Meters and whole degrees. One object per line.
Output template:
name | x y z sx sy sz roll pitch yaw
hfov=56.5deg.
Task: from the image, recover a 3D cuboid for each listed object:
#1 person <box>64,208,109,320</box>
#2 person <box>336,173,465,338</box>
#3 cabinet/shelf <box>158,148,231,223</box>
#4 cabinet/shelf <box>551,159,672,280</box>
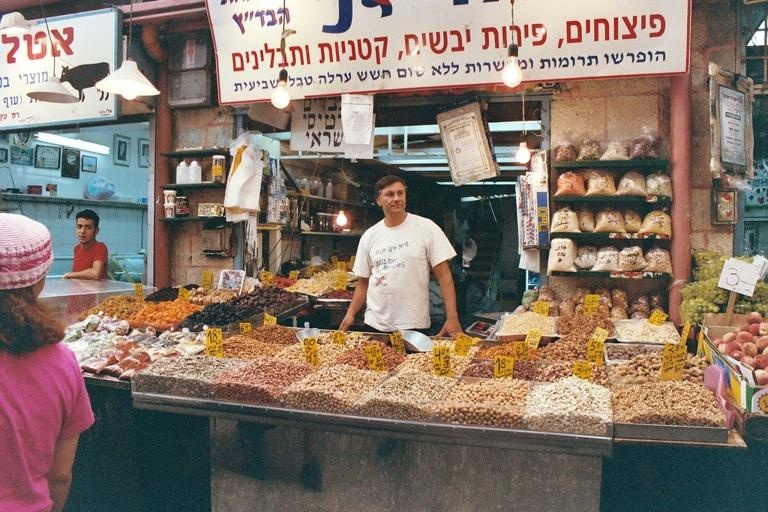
person | -3.171 0.048 7.506 0.564 1.006 0.532 -2 -5 38
person | 0.169 0.111 6.550 0.734 1.903 0.711 0 1 5
cabinet/shelf | -1.971 -0.729 7.462 0.756 0.732 0.270 -1 -2 19
cabinet/shelf | 2.051 -0.322 6.354 1.008 0.985 0.343 2 -4 7
